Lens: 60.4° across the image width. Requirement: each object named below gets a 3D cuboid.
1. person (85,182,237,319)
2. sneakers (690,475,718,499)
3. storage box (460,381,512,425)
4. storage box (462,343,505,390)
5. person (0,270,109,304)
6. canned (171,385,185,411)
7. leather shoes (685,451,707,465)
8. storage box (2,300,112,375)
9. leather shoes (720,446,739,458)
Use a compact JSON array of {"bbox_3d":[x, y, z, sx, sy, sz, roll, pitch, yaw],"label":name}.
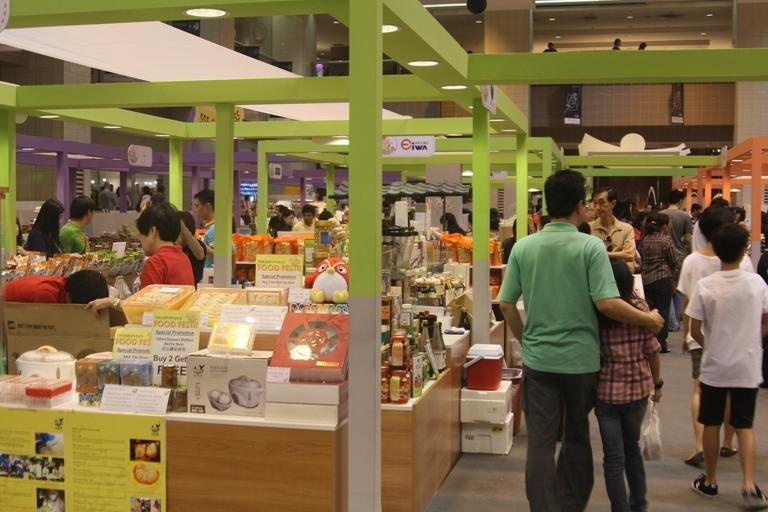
[{"bbox_3d":[-2.091,-0.058,6.097,0.646,0.827,2.860,-1,1,-12],"label":"person"},{"bbox_3d":[2.505,1.801,5.120,0.088,0.104,0.242,0,-1,5],"label":"sneakers"},{"bbox_3d":[0.908,1.331,5.952,0.313,0.226,0.459,0,0,15],"label":"storage box"},{"bbox_3d":[0.900,1.009,6.037,0.316,0.327,0.484,0,-2,10],"label":"storage box"},{"bbox_3d":[-2.519,0.231,4.954,0.846,0.253,0.371,-1,1,21],"label":"person"},{"bbox_3d":[-1.286,0.899,4.144,0.119,0.123,0.117,0,-1,3],"label":"canned"},{"bbox_3d":[2.690,1.759,5.709,0.251,0.094,0.091,-9,-5,26],"label":"leather shoes"},{"bbox_3d":[-2.393,0.650,4.872,0.878,0.594,0.487,0,-3,6],"label":"storage box"},{"bbox_3d":[3.053,1.740,5.833,0.175,0.065,0.071,17,25,42],"label":"leather shoes"}]
